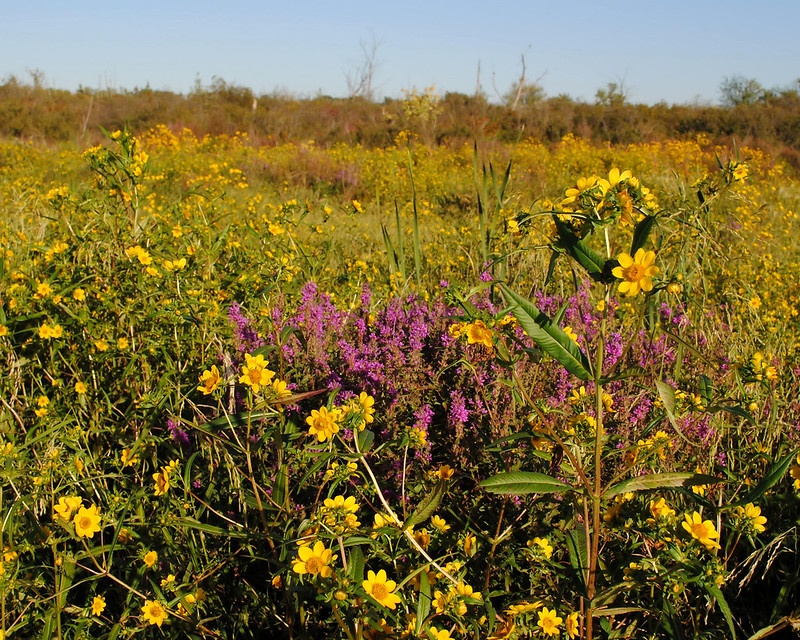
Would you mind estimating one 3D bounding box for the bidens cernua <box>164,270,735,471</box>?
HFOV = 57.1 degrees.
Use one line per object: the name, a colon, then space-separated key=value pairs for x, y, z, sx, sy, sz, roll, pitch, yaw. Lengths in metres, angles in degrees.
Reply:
bidens cernua: x=0.225 y=0.254 z=2.937 sx=1.345 sy=0.765 sz=1.043 roll=2 pitch=6 yaw=-6
